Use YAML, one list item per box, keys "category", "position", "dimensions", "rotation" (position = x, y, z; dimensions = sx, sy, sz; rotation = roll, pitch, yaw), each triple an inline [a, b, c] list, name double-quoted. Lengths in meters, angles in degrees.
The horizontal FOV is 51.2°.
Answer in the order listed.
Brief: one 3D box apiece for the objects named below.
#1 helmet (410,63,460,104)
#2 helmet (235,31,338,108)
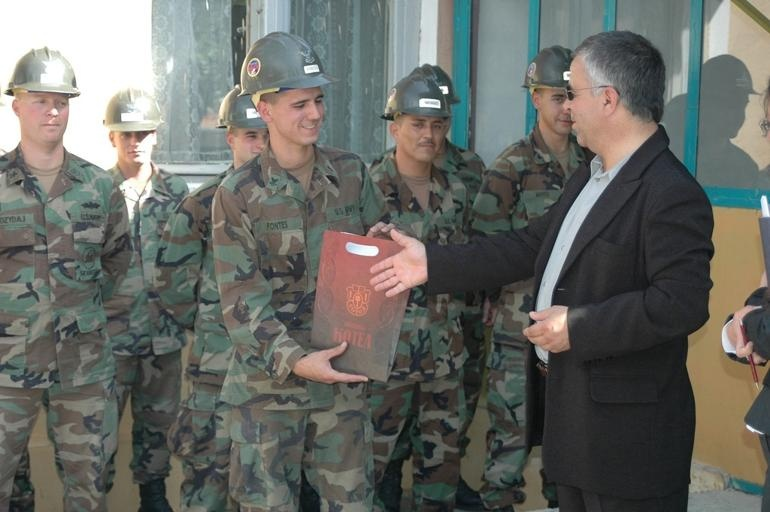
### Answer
- category: "helmet"
  position: [0.428, -1.382, 6.338]
  dimensions: [0.410, 0.228, 0.301]
  rotation: [24, 27, 26]
- category: "helmet"
  position: [-0.523, -1.023, 4.314]
  dimensions: [0.458, 0.274, 0.354]
  rotation: [2, 13, 32]
